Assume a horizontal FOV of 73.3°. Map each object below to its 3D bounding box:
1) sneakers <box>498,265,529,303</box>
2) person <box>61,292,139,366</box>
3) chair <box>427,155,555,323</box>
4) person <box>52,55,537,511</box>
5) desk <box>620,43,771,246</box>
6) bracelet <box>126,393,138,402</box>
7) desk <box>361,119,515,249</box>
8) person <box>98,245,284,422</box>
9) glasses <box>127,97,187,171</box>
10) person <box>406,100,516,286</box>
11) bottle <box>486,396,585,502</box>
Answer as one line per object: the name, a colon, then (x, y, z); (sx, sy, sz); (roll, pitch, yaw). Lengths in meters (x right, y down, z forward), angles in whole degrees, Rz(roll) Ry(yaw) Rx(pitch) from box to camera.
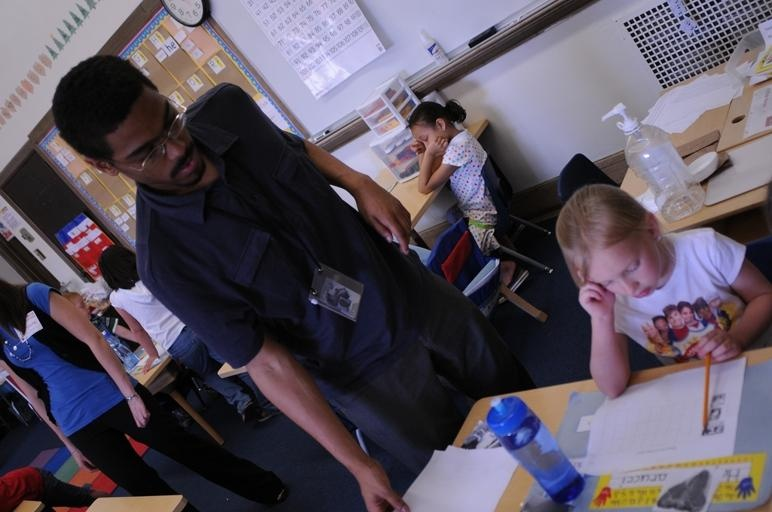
sneakers: (0.968, 0.232, 3.865); (0.268, 0.095, 0.275); (-46, 10, 12)
person: (-2.503, 0.673, 4.440); (0.316, 0.275, 0.905); (-20, -37, -17)
chair: (0.738, -0.137, 3.511); (0.697, 0.919, 0.689); (-57, 2, 34)
person: (-0.340, 0.037, 1.914); (0.868, 1.974, 0.449); (-40, 13, -19)
desk: (1.486, -0.442, 2.480); (0.660, 0.223, 0.991); (-6, 52, 50)
bracelet: (-1.473, 0.821, 3.011); (0.041, 0.019, 0.048); (-27, -7, 0)
desk: (0.509, -0.404, 3.945); (0.764, 0.411, 1.171); (-52, 15, 40)
person: (-1.585, 0.618, 4.102); (0.744, 1.672, 0.519); (-44, 25, -27)
glasses: (-0.793, -0.432, 1.813); (0.265, 0.156, 0.073); (-45, 15, -33)
person: (0.580, -0.383, 3.953); (0.664, 1.583, 0.581); (-24, 9, -41)
bottle: (0.451, 0.590, 1.601); (0.142, 0.324, 0.109); (-36, 12, 1)
